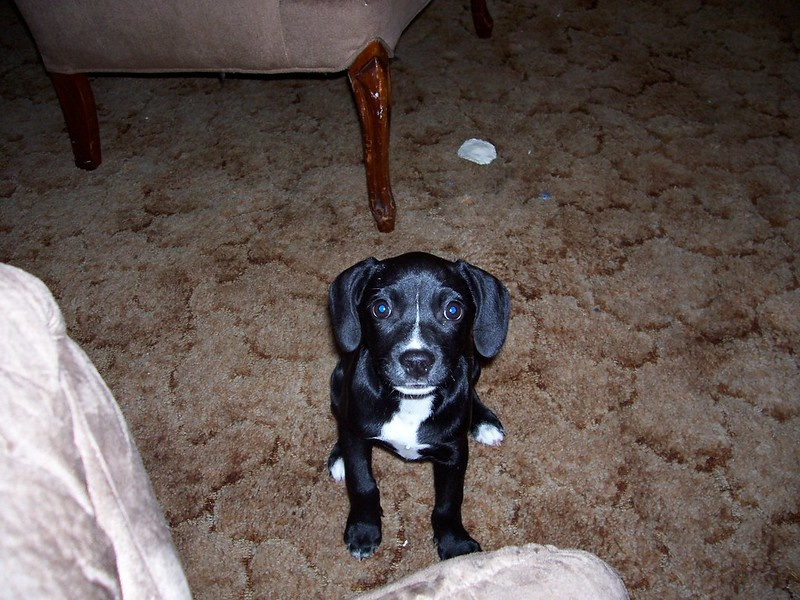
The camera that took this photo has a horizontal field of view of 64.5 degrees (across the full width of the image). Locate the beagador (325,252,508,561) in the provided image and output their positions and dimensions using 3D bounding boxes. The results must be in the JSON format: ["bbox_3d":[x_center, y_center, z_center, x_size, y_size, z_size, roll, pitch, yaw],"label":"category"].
[{"bbox_3d":[0.054,0.230,2.349,0.656,1.078,1.142,0,27,-1],"label":"beagador"}]
